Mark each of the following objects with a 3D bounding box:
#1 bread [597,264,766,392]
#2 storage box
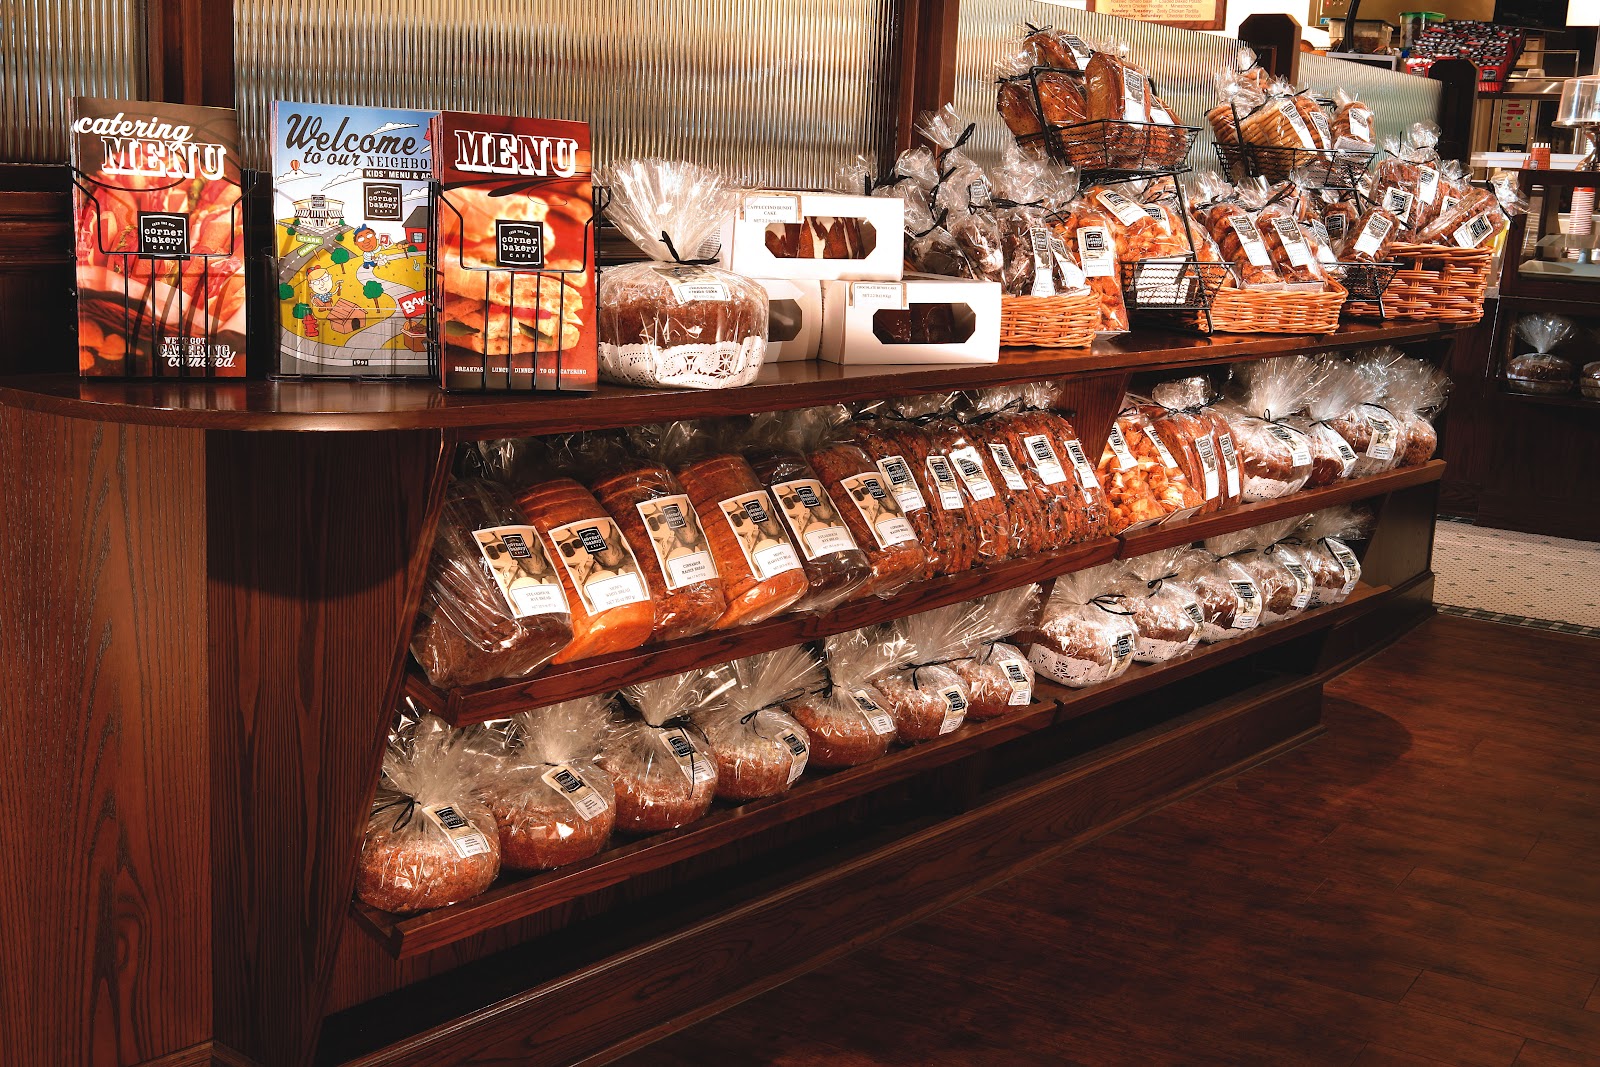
[{"bbox_3d":[-0.195,-0.315,1.688,0.248,0.134,0.255,8,9,43],"label":"bread"},{"bbox_3d":[-0.350,-0.434,1.634,1.344,0.422,0.361,-10,21,-30],"label":"storage box"}]
